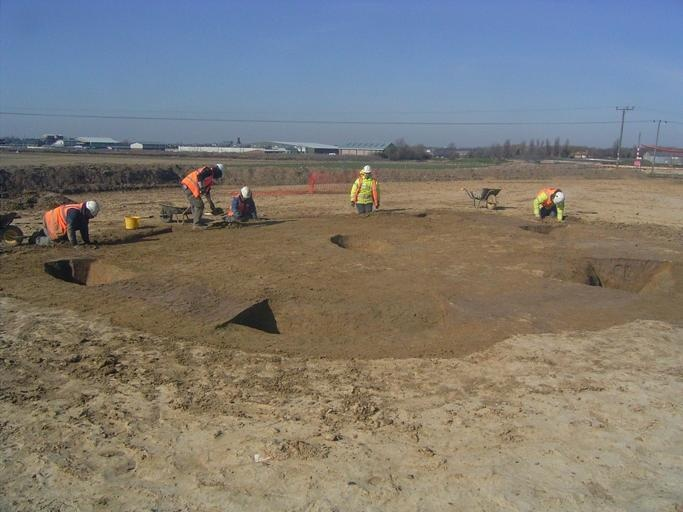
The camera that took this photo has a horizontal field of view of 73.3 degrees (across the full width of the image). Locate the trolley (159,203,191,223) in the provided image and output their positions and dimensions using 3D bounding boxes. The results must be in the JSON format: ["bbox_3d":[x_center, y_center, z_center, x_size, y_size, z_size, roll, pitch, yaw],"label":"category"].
[{"bbox_3d":[-4.950,-1.253,13.537,1.283,0.491,0.649,9,10,11],"label":"trolley"}]

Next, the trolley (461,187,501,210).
[{"bbox_3d":[6.035,-2.360,18.382,1.937,0.672,1.266,-9,14,-35],"label":"trolley"}]

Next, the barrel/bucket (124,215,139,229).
[{"bbox_3d":[-5.751,-0.898,12.525,0.320,0.325,0.426,-7,17,-25],"label":"barrel/bucket"}]

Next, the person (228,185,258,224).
[{"bbox_3d":[-2.991,-1.523,13.538,0.885,1.083,1.046,-3,16,-12],"label":"person"}]

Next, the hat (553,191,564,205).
[{"bbox_3d":[6.739,-1.787,14.206,0.274,0.447,0.499,7,17,21],"label":"hat"}]

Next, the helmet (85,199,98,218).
[{"bbox_3d":[-5.706,-1.068,10.459,0.243,0.425,0.683,-11,18,-31],"label":"helmet"}]

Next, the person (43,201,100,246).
[{"bbox_3d":[-6.260,-0.749,10.645,1.297,0.916,0.737,5,6,12],"label":"person"}]
